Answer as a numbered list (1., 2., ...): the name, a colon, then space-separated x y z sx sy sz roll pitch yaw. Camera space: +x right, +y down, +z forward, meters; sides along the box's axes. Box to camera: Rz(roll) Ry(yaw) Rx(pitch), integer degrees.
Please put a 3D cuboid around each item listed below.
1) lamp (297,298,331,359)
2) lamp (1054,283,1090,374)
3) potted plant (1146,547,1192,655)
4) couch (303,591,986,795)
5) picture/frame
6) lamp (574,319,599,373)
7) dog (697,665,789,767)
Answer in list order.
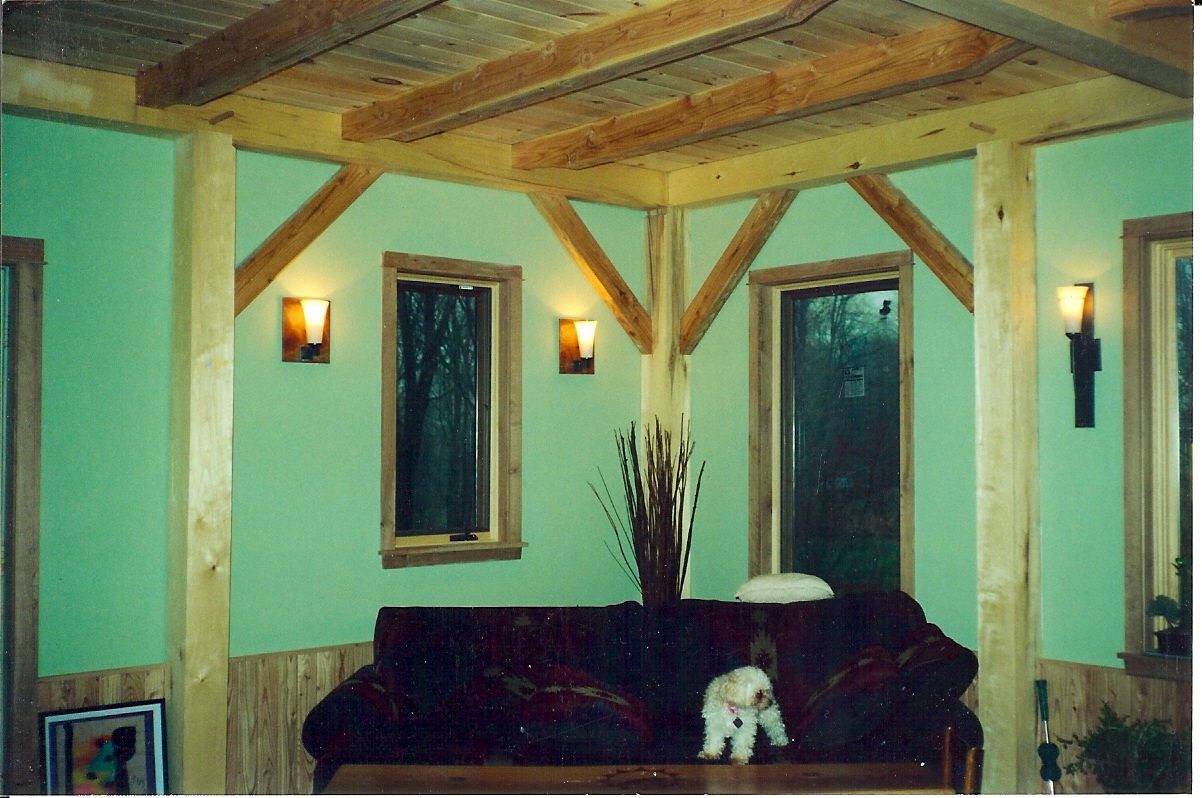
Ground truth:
1. lamp: -1.709 -0.413 6.729 0.206 0.360 0.216 13 -5 -31
2. lamp: 2.667 -0.403 6.097 0.161 0.474 0.076 -7 -7 40
3. potted plant: 3.060 1.087 5.873 0.225 0.529 0.116 -6 -7 31
4. couch: 0.261 1.544 5.737 3.316 0.987 0.869 -2 -5 0
5. picture/frame: -2.672 1.831 5.823 0.510 0.519 0.028 -7 -9 -30
6. lamp: -0.083 -0.379 7.622 0.106 0.355 0.164 -7 -8 42
7. dog: 0.727 1.601 5.597 0.351 0.393 0.497 6 -20 -21
